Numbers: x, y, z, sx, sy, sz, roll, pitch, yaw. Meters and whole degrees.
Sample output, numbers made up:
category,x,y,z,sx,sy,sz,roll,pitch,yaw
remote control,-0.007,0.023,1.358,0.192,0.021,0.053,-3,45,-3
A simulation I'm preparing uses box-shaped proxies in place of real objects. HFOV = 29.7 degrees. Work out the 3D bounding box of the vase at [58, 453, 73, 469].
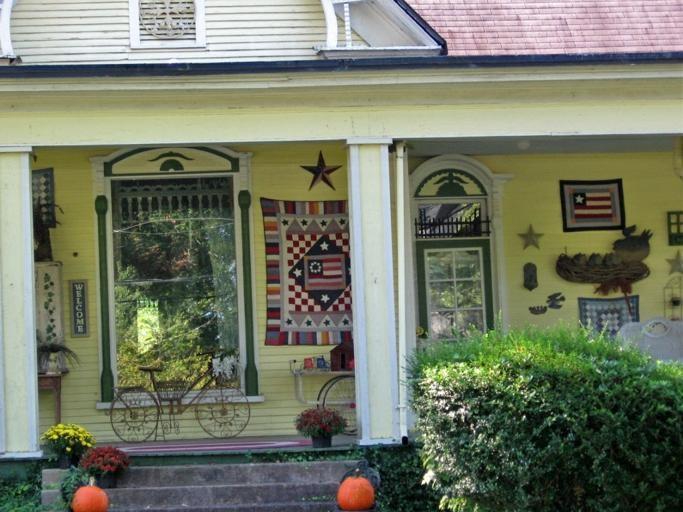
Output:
category,x,y,z,sx,sy,sz,roll,pitch,yaw
vase,-3.254,2.416,15.200,0.185,0.143,0.189,1,-3,-4

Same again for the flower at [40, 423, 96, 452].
category,x,y,z,sx,sy,sz,roll,pitch,yaw
flower,-3.288,2.145,15.245,0.389,0.212,0.389,5,0,44

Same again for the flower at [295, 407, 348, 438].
category,x,y,z,sx,sy,sz,roll,pitch,yaw
flower,-0.272,2.040,15.791,0.434,0.278,0.423,1,-1,-1

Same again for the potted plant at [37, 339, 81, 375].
category,x,y,z,sx,sy,sz,roll,pitch,yaw
potted plant,-3.738,1.347,16.932,0.461,0.302,0.458,8,-14,-42

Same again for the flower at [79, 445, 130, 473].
category,x,y,z,sx,sy,sz,roll,pitch,yaw
flower,-2.787,2.413,15.175,0.369,0.205,0.354,1,2,0

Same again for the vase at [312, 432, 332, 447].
category,x,y,z,sx,sy,sz,roll,pitch,yaw
vase,-0.255,2.240,15.718,0.183,0.110,0.180,0,-5,0

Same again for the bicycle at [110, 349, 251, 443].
category,x,y,z,sx,sy,sz,roll,pitch,yaw
bicycle,-2.418,1.933,17.034,2.394,1.422,0.779,-4,-3,-3

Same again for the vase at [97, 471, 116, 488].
category,x,y,z,sx,sy,sz,roll,pitch,yaw
vase,-2.768,2.629,15.166,0.164,0.148,0.207,2,2,41
